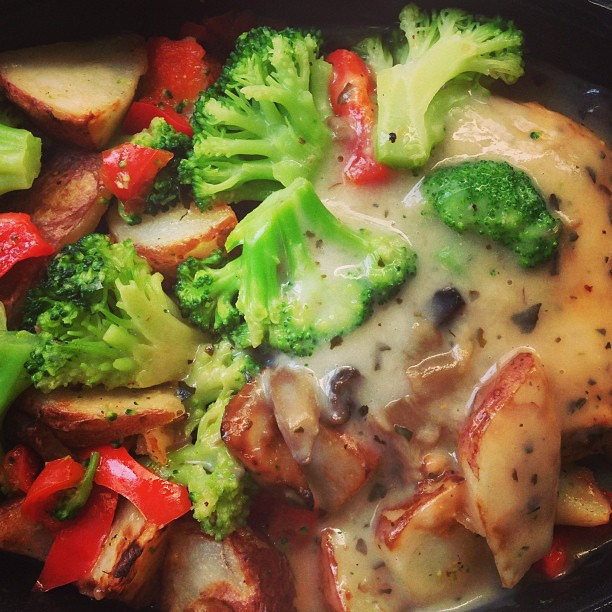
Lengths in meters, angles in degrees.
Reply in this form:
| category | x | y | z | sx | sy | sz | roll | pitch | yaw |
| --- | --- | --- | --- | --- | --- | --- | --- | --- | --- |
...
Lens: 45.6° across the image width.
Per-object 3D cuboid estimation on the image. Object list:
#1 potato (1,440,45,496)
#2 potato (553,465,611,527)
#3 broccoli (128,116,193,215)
| category | x | y | z | sx | sy | sz | roll | pitch | yaw |
| --- | --- | --- | --- | --- | --- | --- | --- | --- | --- |
| potato | -1.236 | 0.722 | 3.246 | 0.249 | 0.102 | 0.219 | 13 | 76 | -9 |
| potato | 1.205 | 0.839 | 3.295 | 0.386 | 0.092 | 0.254 | -1 | 81 | -13 |
| broccoli | -0.676 | -0.555 | 3.336 | 0.352 | 0.294 | 0.073 | 23 | 64 | -5 |
